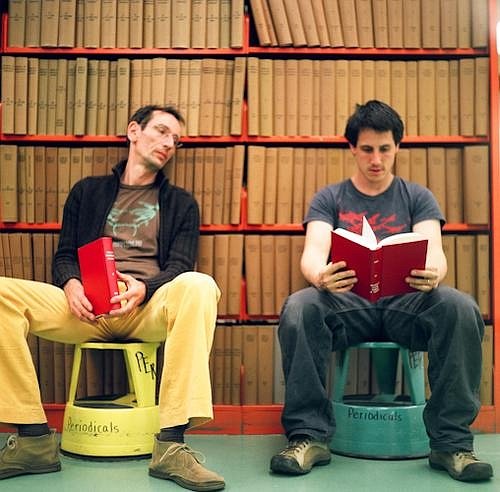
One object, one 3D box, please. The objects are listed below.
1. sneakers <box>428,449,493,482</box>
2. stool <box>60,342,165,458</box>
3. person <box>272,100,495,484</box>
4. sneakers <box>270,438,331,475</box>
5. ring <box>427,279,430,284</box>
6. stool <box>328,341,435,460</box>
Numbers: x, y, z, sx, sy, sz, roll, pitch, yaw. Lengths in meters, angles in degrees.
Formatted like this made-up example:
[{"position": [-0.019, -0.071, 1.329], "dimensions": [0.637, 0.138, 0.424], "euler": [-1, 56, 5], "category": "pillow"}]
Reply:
[{"position": [0.704, 0.724, 2.352], "dimensions": [0.077, 0.092, 0.197], "euler": [2, -9, -29], "category": "sneakers"}, {"position": [-0.532, 0.548, 2.680], "dimensions": [0.401, 0.444, 0.435], "euler": [4, 1, 19], "category": "stool"}, {"position": [0.461, 0.123, 2.577], "dimensions": [0.734, 1.375, 0.541], "euler": [-4, -6, 15], "category": "person"}, {"position": [0.191, 0.722, 2.439], "dimensions": [0.094, 0.128, 0.259], "euler": [-17, -15, 41], "category": "sneakers"}, {"position": [0.605, 0.120, 2.364], "dimensions": [0.011, 0.017, 0.011], "euler": [0, -1, 0], "category": "ring"}, {"position": [0.509, 0.566, 2.724], "dimensions": [0.369, 0.412, 0.400], "euler": [0, -6, 10], "category": "stool"}]
